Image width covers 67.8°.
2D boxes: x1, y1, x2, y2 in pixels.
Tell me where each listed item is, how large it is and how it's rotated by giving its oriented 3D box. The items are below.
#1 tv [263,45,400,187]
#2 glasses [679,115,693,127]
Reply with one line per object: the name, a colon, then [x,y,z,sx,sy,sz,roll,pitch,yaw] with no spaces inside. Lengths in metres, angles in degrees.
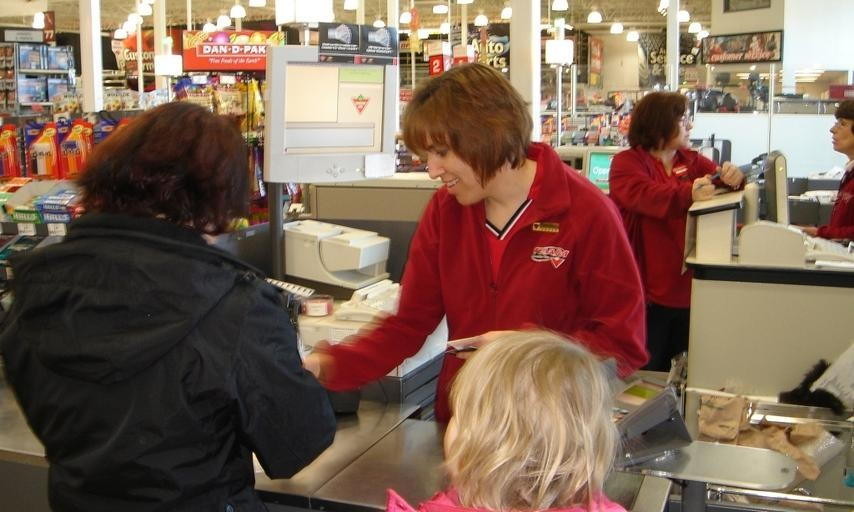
tv: [-0.549,-0.689,3.633,0.978,0.894,0.617,-4,11,-28]
glasses: [1.717,-0.911,4.238,0.114,0.034,0.109,11,0,23]
